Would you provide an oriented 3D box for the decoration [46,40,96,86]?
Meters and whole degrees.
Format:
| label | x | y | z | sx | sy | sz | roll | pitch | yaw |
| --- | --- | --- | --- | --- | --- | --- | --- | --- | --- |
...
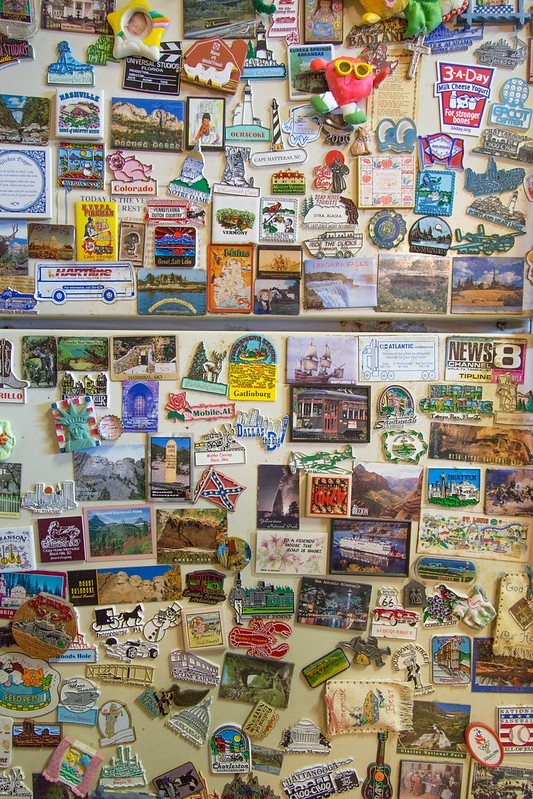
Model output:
| label | x | y | z | sx | sy | sz | roll | pitch | yaw |
| --- | --- | --- | --- | --- | --- | --- | --- | --- | --- |
| decoration | -0.355 | -0.608 | 1.193 | 0.080 | 0.072 | 0.017 | 2 | 5 | -4 |
